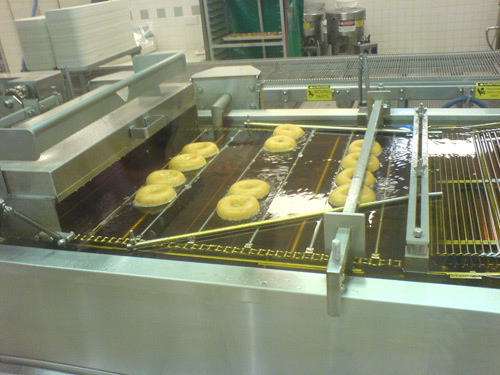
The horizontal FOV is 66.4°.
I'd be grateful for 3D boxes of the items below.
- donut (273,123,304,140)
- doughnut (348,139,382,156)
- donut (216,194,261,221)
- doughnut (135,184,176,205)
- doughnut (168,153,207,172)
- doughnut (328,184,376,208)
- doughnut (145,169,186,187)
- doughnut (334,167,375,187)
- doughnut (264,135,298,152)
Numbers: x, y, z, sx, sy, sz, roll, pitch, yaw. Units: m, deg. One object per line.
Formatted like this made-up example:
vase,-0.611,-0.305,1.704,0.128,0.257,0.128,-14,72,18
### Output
donut,0.207,-0.322,2.143,0.124,0.042,0.120,-20,30,-31
doughnut,0.528,-0.180,1.742,0.100,0.034,0.095,-7,27,5
donut,-0.076,0.088,1.613,0.231,0.078,0.221,1,3,-4
doughnut,-0.415,0.030,1.671,0.159,0.044,0.134,3,26,15
doughnut,-0.317,-0.129,1.932,0.195,0.057,0.140,-3,25,2
doughnut,0.411,0.030,1.538,0.127,0.043,0.120,-11,21,-5
doughnut,-0.390,-0.059,1.777,0.110,0.033,0.105,-9,20,-30
doughnut,0.461,-0.048,1.673,0.172,0.045,0.153,1,25,11
doughnut,0.167,-0.237,2.036,0.171,0.052,0.151,3,26,14
